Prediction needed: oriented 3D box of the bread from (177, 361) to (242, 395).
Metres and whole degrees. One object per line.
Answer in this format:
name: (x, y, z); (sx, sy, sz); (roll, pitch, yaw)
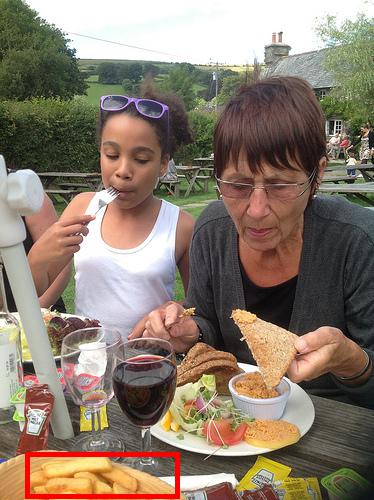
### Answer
bread: (0.057, 0.422, 1.398); (0.336, 0.049, 0.104); (10, 35, -40)

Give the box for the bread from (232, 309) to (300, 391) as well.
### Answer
bread: (0.202, 0.335, 1.346); (0.235, 0.065, 0.238); (34, 39, 19)

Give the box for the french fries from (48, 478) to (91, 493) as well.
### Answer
french fries: (-0.229, 0.457, 0.784); (0.083, 0.022, 0.036); (0, -7, 10)

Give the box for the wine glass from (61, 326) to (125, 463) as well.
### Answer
wine glass: (-0.251, 0.408, 1.119); (0.173, 0.297, 0.162); (7, -3, -31)

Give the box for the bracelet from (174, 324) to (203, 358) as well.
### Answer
bracelet: (-0.003, 0.439, 1.850); (0.035, 0.123, 0.124); (32, 8, 5)

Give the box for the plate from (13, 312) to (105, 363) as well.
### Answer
plate: (-0.416, 0.284, 1.293); (0.280, 0.036, 0.269); (3, 12, -1)

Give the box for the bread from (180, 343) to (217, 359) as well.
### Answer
bread: (0.035, 0.385, 1.502); (0.083, 0.020, 0.081); (-4, 1, 15)

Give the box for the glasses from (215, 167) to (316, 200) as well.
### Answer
glasses: (0.296, -0.247, 1.538); (0.378, 0.113, 0.195); (0, 10, 6)

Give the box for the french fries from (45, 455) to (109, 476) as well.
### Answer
french fries: (-0.224, 0.442, 0.833); (0.136, 0.028, 0.048); (-2, 10, -6)

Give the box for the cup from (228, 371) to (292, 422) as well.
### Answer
cup: (0.228, 0.486, 1.304); (0.199, 0.074, 0.188); (2, -2, 0)

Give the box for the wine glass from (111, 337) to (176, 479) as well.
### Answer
wine glass: (-0.108, 0.399, 1.088); (0.159, 0.310, 0.263); (-3, 11, -4)
